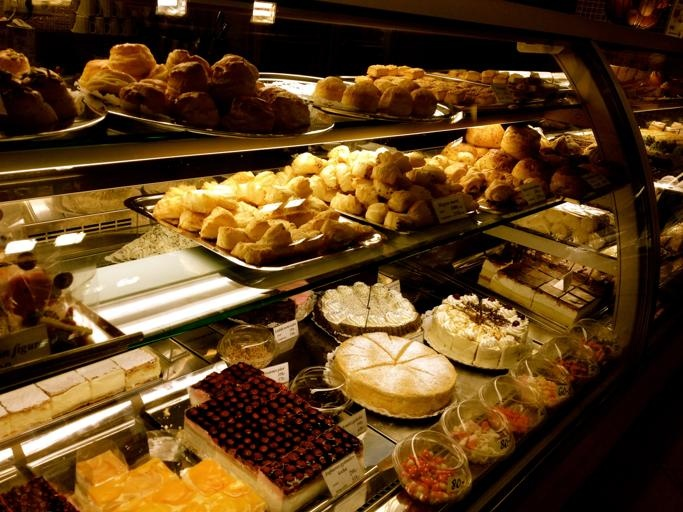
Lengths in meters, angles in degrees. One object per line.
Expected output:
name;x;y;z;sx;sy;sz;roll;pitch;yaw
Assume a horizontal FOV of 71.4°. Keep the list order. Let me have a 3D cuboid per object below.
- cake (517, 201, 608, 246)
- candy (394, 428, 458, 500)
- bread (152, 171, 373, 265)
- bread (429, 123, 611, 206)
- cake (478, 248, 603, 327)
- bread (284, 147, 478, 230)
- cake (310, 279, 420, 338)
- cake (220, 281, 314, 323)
cake;1.546;-0.209;3.314;0.514;0.119;0.391;18;34;33
candy;0.349;0.875;2.001;0.269;0.112;0.233;-1;30;-9
bread;-0.285;-0.191;1.947;0.697;0.190;0.675;25;36;35
bread;1.036;-0.512;2.698;0.910;0.205;0.656;10;27;13
cake;1.332;0.263;3.311;0.657;0.138;0.601;13;22;4
bread;0.156;-0.330;2.248;0.687;0.159;0.560;20;24;27
cake;0.145;0.317;2.742;0.483;0.083;0.405;-4;22;-28
cake;-0.360;0.279;2.466;0.405;0.071;0.368;3;11;25
